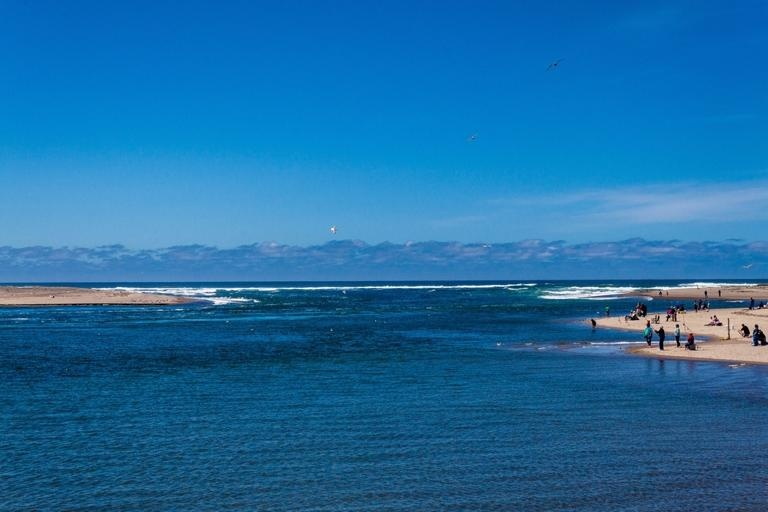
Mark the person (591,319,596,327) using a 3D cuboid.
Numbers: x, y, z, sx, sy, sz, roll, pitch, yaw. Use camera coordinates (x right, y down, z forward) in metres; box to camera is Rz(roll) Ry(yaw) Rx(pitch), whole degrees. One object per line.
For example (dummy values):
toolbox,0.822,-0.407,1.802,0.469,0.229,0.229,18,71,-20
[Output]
person,22.166,7.022,71.343,0.631,0.714,0.375,-7,-3,-15
